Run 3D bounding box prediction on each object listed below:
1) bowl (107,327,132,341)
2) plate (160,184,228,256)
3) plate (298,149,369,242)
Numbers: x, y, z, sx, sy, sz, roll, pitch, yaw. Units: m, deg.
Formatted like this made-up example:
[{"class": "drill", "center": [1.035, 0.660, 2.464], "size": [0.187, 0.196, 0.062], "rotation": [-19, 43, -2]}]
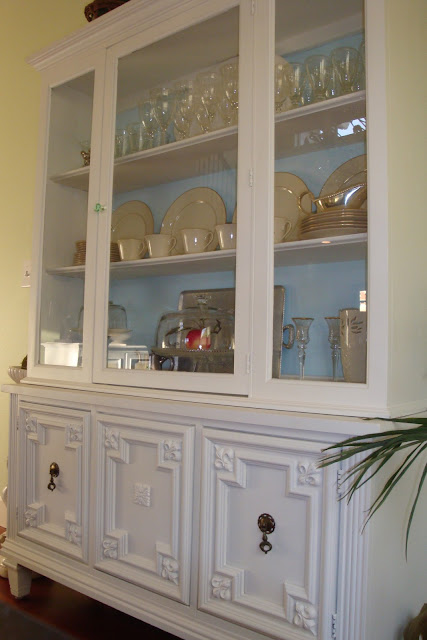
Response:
[{"class": "bowl", "center": [-0.272, 0.045, 1.543], "size": [0.046, 0.022, 0.046], "rotation": [-1, -5, 0]}, {"class": "plate", "center": [-0.052, -0.265, 1.404], "size": [0.022, 0.165, 0.165], "rotation": [2, -49, -38]}, {"class": "plate", "center": [0.253, -0.255, 1.136], "size": [0.020, 0.158, 0.157], "rotation": [3, -6, -45]}]
